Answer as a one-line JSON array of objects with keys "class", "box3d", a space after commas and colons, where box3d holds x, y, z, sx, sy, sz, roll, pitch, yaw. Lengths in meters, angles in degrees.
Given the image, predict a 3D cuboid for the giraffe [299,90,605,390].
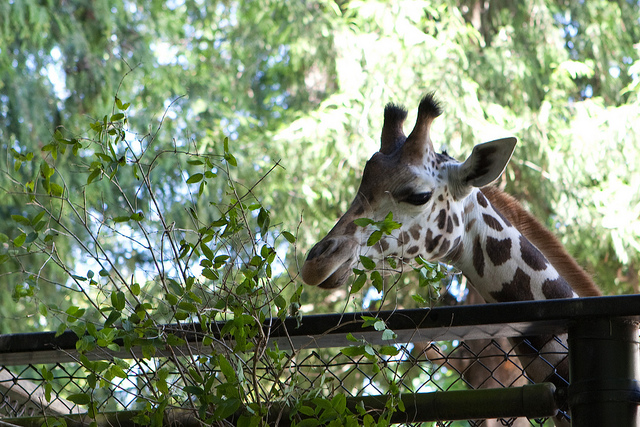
[{"class": "giraffe", "box3d": [1.419, 0.500, 9.365, 3.112, 2.739, 1.339, 13, -1, -32]}]
